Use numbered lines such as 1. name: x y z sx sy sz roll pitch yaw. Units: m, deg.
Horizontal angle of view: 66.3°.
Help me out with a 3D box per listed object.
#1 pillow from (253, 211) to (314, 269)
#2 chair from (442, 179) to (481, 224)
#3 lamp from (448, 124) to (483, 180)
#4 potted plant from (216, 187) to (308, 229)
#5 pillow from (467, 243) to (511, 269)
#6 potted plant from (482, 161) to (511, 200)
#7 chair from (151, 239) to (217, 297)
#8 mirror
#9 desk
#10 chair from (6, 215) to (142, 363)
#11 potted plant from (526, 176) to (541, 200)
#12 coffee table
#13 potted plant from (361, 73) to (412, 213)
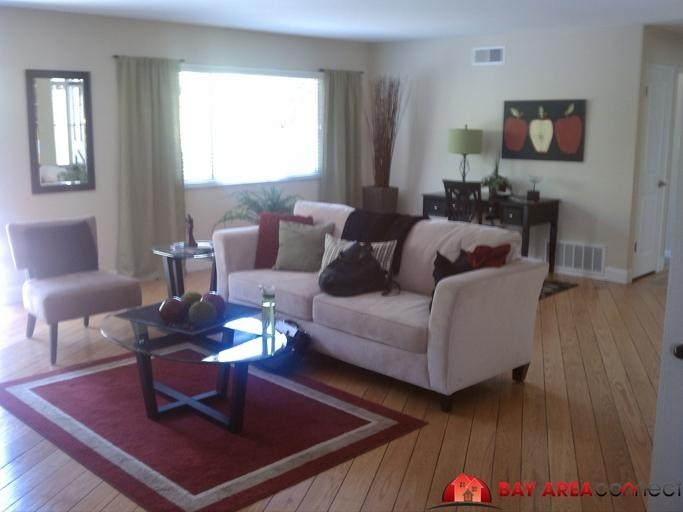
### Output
1. pillow: -0.499 -0.117 4.538 0.396 0.465 0.159 1 -13 9
2. chair: 1.497 -0.686 6.489 0.430 0.774 0.503 9 21 29
3. lamp: 1.587 -1.321 6.752 0.442 0.723 0.546 4 14 15
4. potted plant: -1.066 -0.604 6.367 0.651 0.369 0.711 -12 10 -29
5. pillow: 0.990 0.005 3.525 0.189 0.070 0.201 -12 11 13
6. potted plant: 1.936 -0.961 6.588 0.369 0.569 0.418 4 16 20
7. chair: -1.409 0.046 4.681 0.526 0.440 0.556 0 9 -9
8. mirror: -2.845 -1.256 5.313 0.630 1.191 0.134 -8 16 -31
9. desk: 1.914 -0.121 6.564 0.918 1.312 1.817 -10 14 -42
10. chair: -2.285 0.154 4.594 0.980 1.423 1.144 -9 14 -43
11. potted plant: 2.314 -0.819 6.287 0.136 0.262 0.435 5 15 20
12. coffee table: -0.823 0.473 3.101 0.954 0.457 0.751 17 24 39
13. potted plant: 0.566 -1.596 7.438 0.681 1.898 0.766 5 14 19
